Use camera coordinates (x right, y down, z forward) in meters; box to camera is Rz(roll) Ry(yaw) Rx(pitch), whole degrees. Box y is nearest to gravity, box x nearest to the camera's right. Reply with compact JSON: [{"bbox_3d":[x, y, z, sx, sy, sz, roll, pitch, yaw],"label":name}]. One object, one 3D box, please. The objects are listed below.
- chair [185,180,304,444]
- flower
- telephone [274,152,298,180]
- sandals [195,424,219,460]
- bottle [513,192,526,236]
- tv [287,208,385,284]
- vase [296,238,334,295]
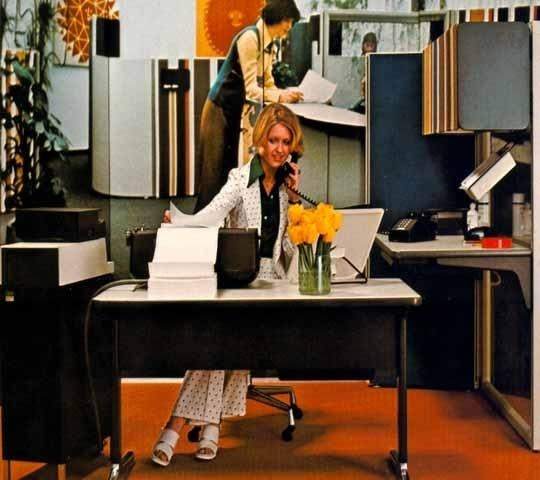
[{"bbox_3d":[0.000,0.555,3.925,0.823,1.850,0.948,-1,8,-2],"label":"chair"},{"bbox_3d":[0.225,0.069,3.370,0.230,0.426,0.219,6,15,33],"label":"flower"},{"bbox_3d":[0.106,-0.416,4.018,0.100,0.203,0.042,32,9,41],"label":"telephone"},{"bbox_3d":[-0.347,1.105,3.692,0.085,0.153,0.312,3,-2,-1],"label":"sandals"},{"bbox_3d":[1.502,-0.143,4.018,0.058,0.276,0.084,-6,9,-43],"label":"bottle"},{"bbox_3d":[0.372,-0.010,3.694,0.331,0.605,0.476,1,1,12],"label":"tv"},{"bbox_3d":[0.224,0.144,3.424,0.199,0.428,0.215,0,-5,-6],"label":"vase"}]
